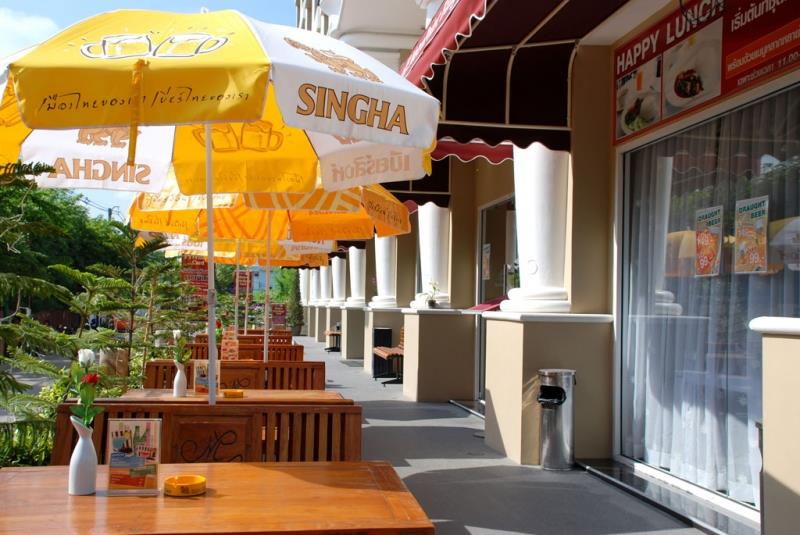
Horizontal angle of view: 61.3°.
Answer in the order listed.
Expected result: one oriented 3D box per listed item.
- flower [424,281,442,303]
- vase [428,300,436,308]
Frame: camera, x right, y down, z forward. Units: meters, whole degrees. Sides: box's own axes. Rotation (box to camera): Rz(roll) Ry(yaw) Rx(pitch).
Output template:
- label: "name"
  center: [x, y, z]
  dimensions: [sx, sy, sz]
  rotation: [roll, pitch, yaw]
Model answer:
- label: "flower"
  center: [0.561, 0.486, 12.697]
  dimensions: [0.407, 0.481, 0.356]
  rotation: [2, -11, -5]
- label: "vase"
  center: [0.540, 0.670, 12.549]
  dimensions: [0.123, 0.102, 0.126]
  rotation: [2, -8, -15]
